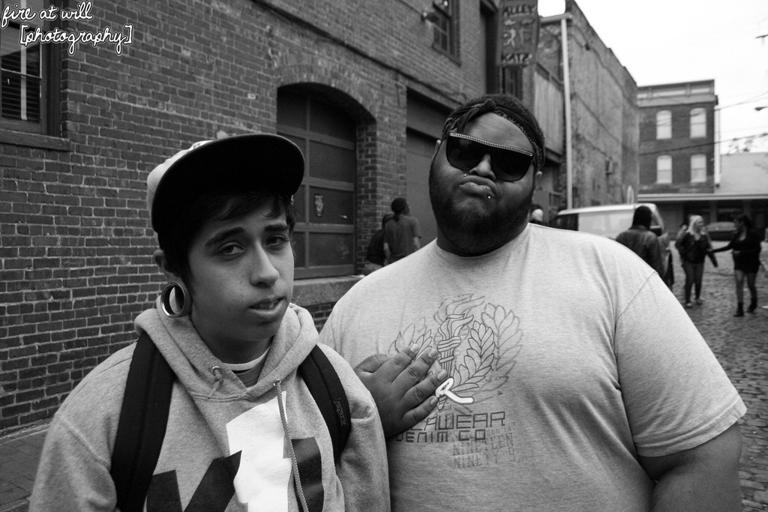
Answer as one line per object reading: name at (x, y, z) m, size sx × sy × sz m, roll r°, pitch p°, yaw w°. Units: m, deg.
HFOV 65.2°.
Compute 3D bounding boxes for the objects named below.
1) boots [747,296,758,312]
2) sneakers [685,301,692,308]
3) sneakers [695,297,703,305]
boots at (7.571, 1.028, 12.360) m, size 0.153 × 0.305 × 0.419 m, roll -3°, pitch 19°, yaw 44°
sneakers at (6.369, 1.051, 12.586) m, size 0.089 × 0.105 × 0.260 m, roll -4°, pitch -9°, yaw 17°
sneakers at (6.911, 1.029, 13.207) m, size 0.137 × 0.176 × 0.431 m, roll -3°, pitch -4°, yaw 12°
